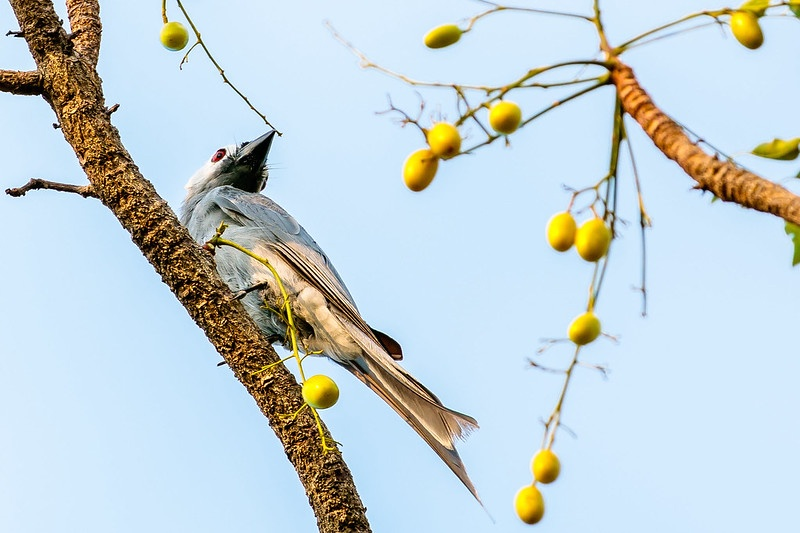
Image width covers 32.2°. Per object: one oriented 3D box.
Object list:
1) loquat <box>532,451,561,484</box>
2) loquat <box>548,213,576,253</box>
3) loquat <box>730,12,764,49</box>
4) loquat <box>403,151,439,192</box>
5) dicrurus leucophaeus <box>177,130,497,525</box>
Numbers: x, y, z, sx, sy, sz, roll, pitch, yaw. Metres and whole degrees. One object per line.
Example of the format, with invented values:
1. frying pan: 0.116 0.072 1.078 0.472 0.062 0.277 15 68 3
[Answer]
1. loquat: 0.708 0.944 6.640 0.121 0.174 0.186 6 -38 12
2. loquat: 0.732 -0.144 6.156 0.113 0.178 0.122 -9 11 -31
3. loquat: 1.637 -1.094 6.515 0.136 0.204 0.142 -3 -40 23
4. loquat: 0.100 -0.444 6.584 0.142 0.200 0.140 17 -36 -3
5. dicrurus leucophaeus: -0.550 0.174 8.926 2.712 1.411 0.839 30 -48 7
